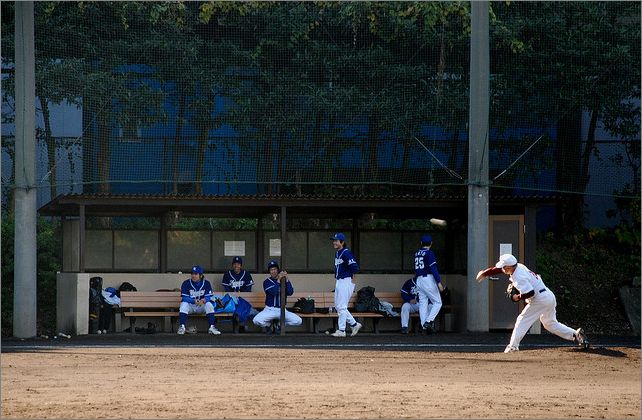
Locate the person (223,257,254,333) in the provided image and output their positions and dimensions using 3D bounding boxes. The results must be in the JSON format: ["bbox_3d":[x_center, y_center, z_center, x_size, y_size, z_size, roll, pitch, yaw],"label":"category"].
[{"bbox_3d":[-2.478,2.561,35.146,0.955,2.271,0.686,0,21,-10],"label":"person"}]

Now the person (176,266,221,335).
[{"bbox_3d":[-3.573,2.609,34.168,1.084,2.018,1.342,0,-4,-8],"label":"person"}]

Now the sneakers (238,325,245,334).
[{"bbox_3d":[-2.317,3.531,35.124,0.273,0.361,0.186,1,-14,-5],"label":"sneakers"}]

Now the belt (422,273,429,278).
[{"bbox_3d":[2.978,1.878,34.003,0.101,0.107,0.029,-7,-13,5],"label":"belt"}]

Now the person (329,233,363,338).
[{"bbox_3d":[0.679,2.122,33.514,0.746,2.914,1.330,-1,-2,0],"label":"person"}]

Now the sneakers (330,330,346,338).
[{"bbox_3d":[0.490,3.492,33.348,0.424,0.222,0.166,2,1,7],"label":"sneakers"}]

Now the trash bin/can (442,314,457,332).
[{"bbox_3d":[3.819,3.342,35.318,0.507,0.535,0.294,1,-3,-44],"label":"trash bin/can"}]

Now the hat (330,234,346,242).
[{"bbox_3d":[0.539,0.775,33.321,0.270,0.167,0.201,5,-6,-13],"label":"hat"}]

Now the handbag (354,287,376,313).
[{"bbox_3d":[1.332,2.629,34.619,0.665,0.806,0.513,3,-12,-1],"label":"handbag"}]

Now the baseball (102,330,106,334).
[{"bbox_3d":[-6.209,3.540,34.251,0.077,0.069,0.117,3,3,11],"label":"baseball"}]

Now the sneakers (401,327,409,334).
[{"bbox_3d":[2.439,3.497,34.449,0.142,0.198,0.435,0,-13,5],"label":"sneakers"}]

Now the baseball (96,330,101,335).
[{"bbox_3d":[-6.364,3.541,34.169,0.089,0.068,0.084,-5,-8,28],"label":"baseball"}]

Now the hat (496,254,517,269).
[{"bbox_3d":[4.822,1.357,30.770,0.434,0.176,0.328,-7,17,10],"label":"hat"}]

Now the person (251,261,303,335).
[{"bbox_3d":[-1.259,2.541,34.230,1.208,2.043,0.757,-1,-2,17],"label":"person"}]

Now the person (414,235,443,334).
[{"bbox_3d":[3.098,2.132,34.089,0.832,2.798,0.556,-1,-2,21],"label":"person"}]

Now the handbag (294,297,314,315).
[{"bbox_3d":[-0.480,2.808,34.561,0.416,0.349,0.457,0,-2,30],"label":"handbag"}]

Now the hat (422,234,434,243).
[{"bbox_3d":[3.039,0.863,34.144,0.205,0.218,0.221,-1,-9,15],"label":"hat"}]

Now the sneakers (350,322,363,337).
[{"bbox_3d":[0.980,3.430,33.615,0.208,0.173,0.510,-1,-40,-12],"label":"sneakers"}]

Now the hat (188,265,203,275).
[{"bbox_3d":[-3.581,1.729,34.335,0.287,0.241,0.506,3,-11,9],"label":"hat"}]
